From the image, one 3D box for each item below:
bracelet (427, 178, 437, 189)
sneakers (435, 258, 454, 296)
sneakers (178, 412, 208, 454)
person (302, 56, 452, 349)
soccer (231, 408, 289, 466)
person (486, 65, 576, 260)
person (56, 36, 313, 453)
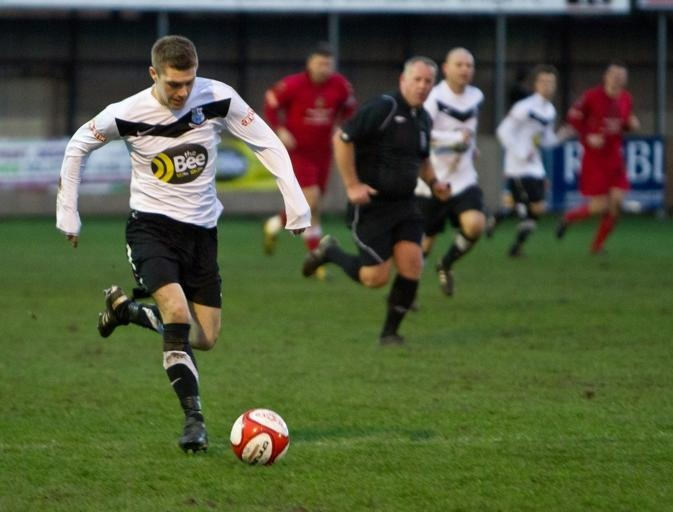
[{"bbox_3d":[0.795,-0.597,9.179,0.075,0.055,0.074,-43,10,-29],"label":"bracelet"},{"bbox_3d":[0.976,0.188,10.013,0.116,0.315,0.147,-8,6,14],"label":"sneakers"},{"bbox_3d":[-0.929,1.177,7.276,0.177,0.273,0.257,2,6,-7],"label":"sneakers"},{"bbox_3d":[0.246,-0.482,9.098,0.748,2.195,1.284,-1,6,-32],"label":"person"},{"bbox_3d":[-0.500,1.189,7.348,0.379,0.334,0.202,2,6,-3],"label":"soccer"},{"bbox_3d":[2.050,-0.958,11.868,0.694,2.075,1.036,3,6,10],"label":"person"},{"bbox_3d":[-1.118,-0.139,7.803,1.492,2.737,1.084,6,6,33],"label":"person"}]
